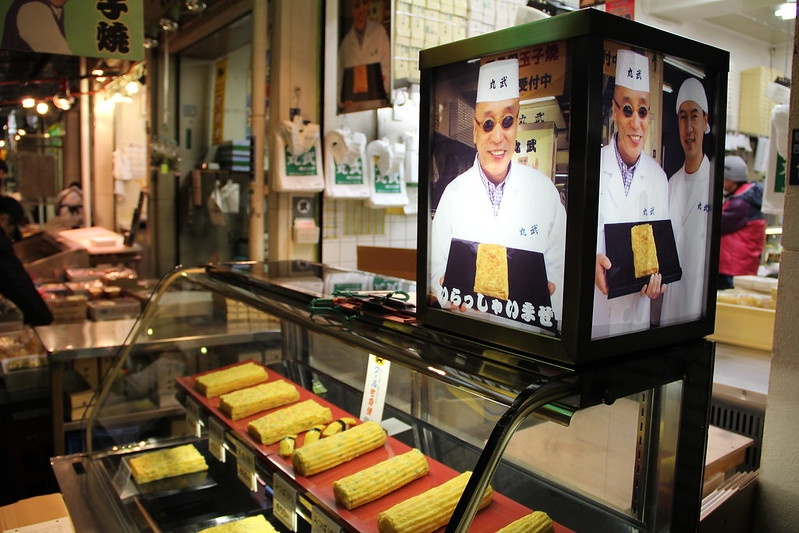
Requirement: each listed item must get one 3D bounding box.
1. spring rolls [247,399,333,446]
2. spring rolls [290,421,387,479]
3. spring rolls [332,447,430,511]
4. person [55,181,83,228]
[{"bbox_3d":[-0.457,0.658,2.523,0.314,0.068,0.170,-6,13,-44],"label":"spring rolls"},{"bbox_3d":[-0.212,0.697,2.331,0.409,0.122,0.142,-13,23,-28],"label":"spring rolls"},{"bbox_3d":[-0.065,0.746,2.135,0.340,0.103,0.140,-20,24,-35],"label":"spring rolls"},{"bbox_3d":[-5.055,-0.934,9.029,0.496,0.694,0.287,4,1,15],"label":"person"}]
